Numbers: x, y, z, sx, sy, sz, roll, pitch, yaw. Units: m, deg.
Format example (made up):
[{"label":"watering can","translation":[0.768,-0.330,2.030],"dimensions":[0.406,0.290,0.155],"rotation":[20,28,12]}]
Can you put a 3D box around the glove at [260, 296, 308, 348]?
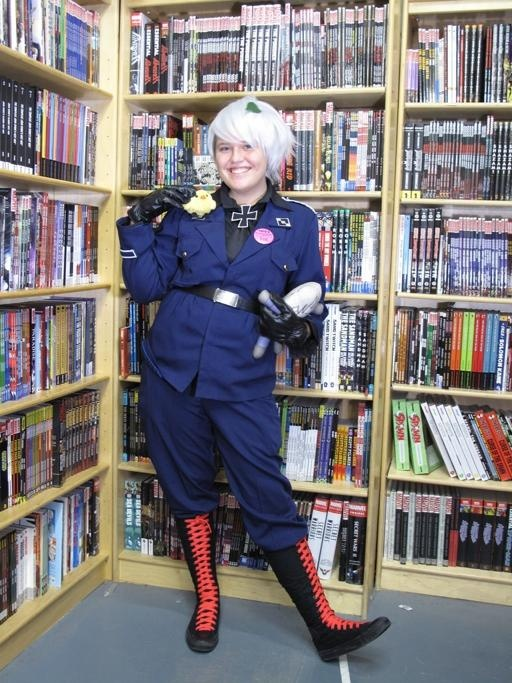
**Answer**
[{"label":"glove","translation":[0.072,-0.051,1.485],"dimensions":[0.120,0.143,0.203],"rotation":[2,2,3]}]

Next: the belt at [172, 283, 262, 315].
[{"label":"belt","translation":[-0.110,-0.115,1.580],"dimensions":[0.226,0.075,0.072],"rotation":[3,2,25]}]

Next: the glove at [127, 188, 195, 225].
[{"label":"glove","translation":[-0.261,-0.371,1.589],"dimensions":[0.165,0.091,0.053],"rotation":[-21,-38,7]}]

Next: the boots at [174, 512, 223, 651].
[{"label":"boots","translation":[-0.182,0.731,1.780],"dimensions":[0.120,0.394,0.155],"rotation":[-2,-38,-4]}]

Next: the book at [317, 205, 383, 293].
[{"label":"book","translation":[0.284,-0.321,1.999],"dimensions":[0.262,0.376,0.270],"rotation":[-1,9,3]}]

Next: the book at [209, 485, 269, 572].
[{"label":"book","translation":[-0.073,0.661,2.034],"dimensions":[0.228,0.304,0.100],"rotation":[1,0,8]}]

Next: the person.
[{"label":"person","translation":[-0.051,0.132,1.633],"dimensions":[0.686,1.610,0.388],"rotation":[2,2,25]}]
